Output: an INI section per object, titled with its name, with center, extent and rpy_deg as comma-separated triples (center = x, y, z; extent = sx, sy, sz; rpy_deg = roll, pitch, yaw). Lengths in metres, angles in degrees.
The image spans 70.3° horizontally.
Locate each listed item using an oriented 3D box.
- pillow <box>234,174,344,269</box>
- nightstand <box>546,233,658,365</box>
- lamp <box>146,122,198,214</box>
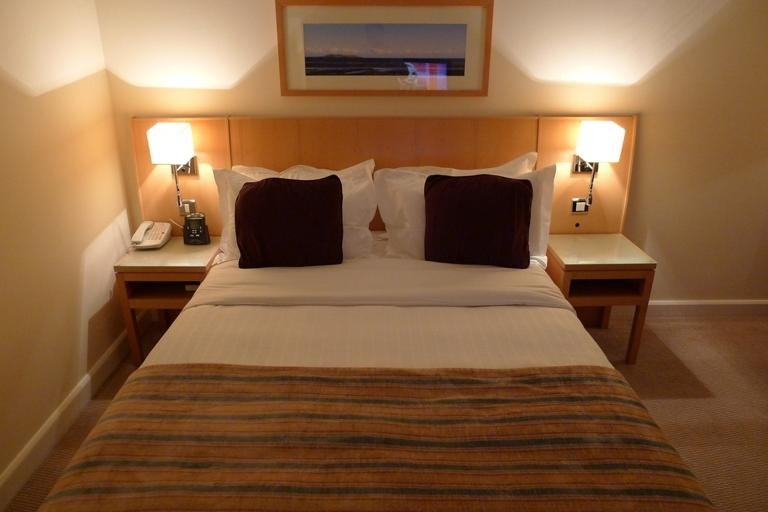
[pillow]
center = -0.595, -0.201, 3.430
extent = 0.645, 0.576, 0.190
rpy_deg = -2, 5, -6
[nightstand]
center = 1.545, 0.304, 4.050
extent = 0.586, 0.773, 0.656
rpy_deg = 0, 20, 1
[lamp]
center = -1.453, -0.604, 3.803
extent = 0.262, 0.529, 0.231
rpy_deg = -9, 14, -40
